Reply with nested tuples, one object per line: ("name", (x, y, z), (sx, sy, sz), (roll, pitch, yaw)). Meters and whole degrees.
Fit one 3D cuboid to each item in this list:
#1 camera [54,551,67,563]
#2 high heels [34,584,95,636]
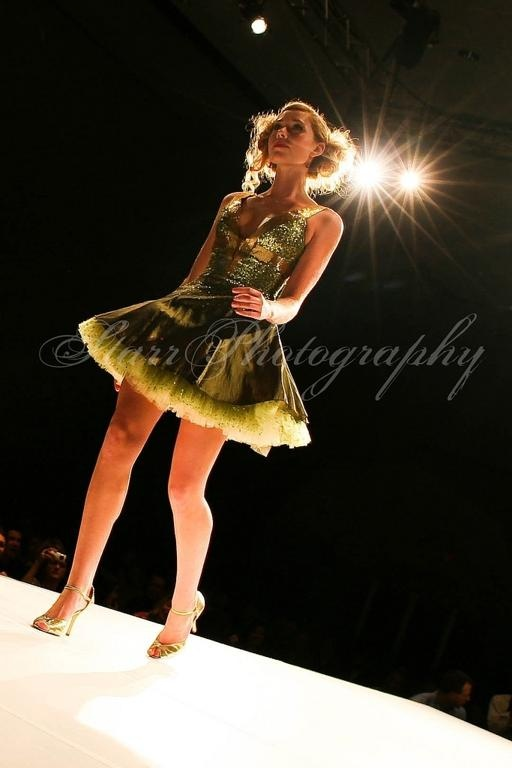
("camera", (-0.754, 0.669, 2.663), (0.050, 0.021, 0.064), (6, -23, -16))
("high heels", (-0.446, 0.531, 1.633), (0.073, 0.076, 0.198), (13, -2, 19))
